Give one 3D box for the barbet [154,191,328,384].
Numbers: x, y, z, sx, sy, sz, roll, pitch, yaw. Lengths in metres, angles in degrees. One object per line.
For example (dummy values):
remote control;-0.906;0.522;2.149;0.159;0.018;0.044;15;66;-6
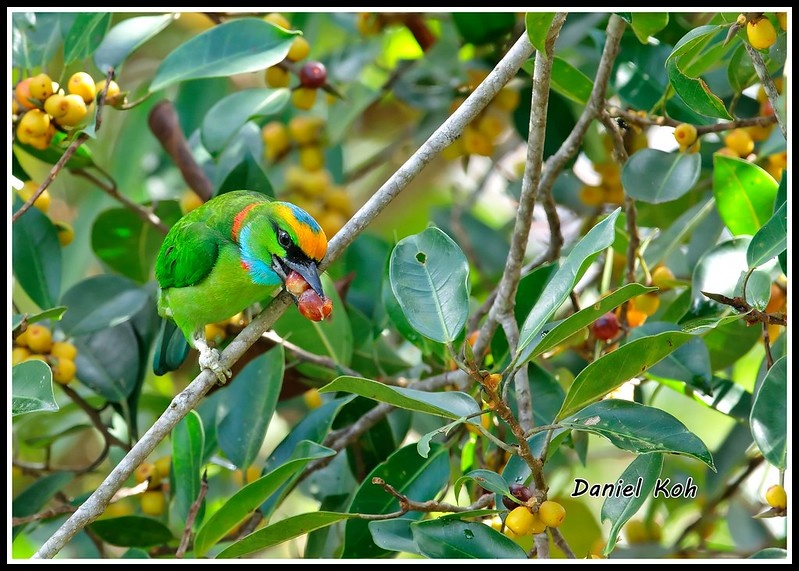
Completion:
barbet;-0.673;0.017;3.502;0.983;0.842;0.644;7;7;40
